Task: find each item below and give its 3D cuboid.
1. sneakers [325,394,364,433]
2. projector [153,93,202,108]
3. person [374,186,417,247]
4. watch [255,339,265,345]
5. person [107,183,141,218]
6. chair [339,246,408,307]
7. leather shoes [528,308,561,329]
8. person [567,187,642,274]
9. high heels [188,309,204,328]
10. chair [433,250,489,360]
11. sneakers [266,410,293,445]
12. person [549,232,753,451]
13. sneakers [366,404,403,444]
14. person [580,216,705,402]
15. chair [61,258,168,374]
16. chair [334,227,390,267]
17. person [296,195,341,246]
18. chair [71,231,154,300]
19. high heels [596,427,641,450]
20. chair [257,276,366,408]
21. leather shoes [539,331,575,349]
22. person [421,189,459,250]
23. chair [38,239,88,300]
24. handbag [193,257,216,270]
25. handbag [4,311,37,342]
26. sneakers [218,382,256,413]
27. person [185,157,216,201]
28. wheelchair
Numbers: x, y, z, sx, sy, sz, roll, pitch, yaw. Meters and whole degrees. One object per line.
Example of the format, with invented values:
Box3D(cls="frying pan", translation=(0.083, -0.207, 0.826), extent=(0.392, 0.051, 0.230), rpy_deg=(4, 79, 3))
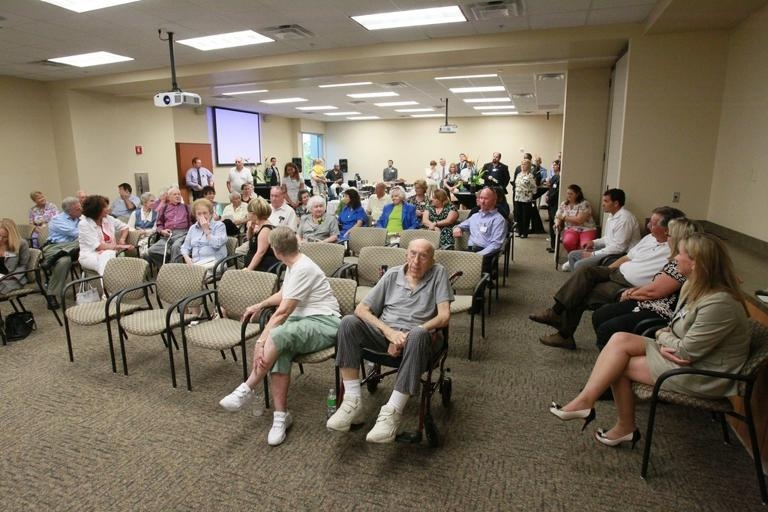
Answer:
Box3D(cls="sneakers", translation=(-0.330, 1.375, 4.634), extent=(0.195, 0.271, 0.551), rpy_deg=(11, 7, 25))
Box3D(cls="projector", translation=(-3.356, -2.563, 8.468), extent=(0.664, 0.233, 0.386), rpy_deg=(5, 13, 23))
Box3D(cls="person", translation=(0.172, -0.555, 8.234), extent=(0.689, 1.030, 0.613), rpy_deg=(8, 18, 33))
Box3D(cls="watch", translation=(-1.115, 0.789, 4.733), extent=(0.059, 0.016, 0.056), rpy_deg=(1, 6, 4))
Box3D(cls="person", translation=(-4.855, -0.971, 9.782), extent=(0.548, 0.735, 0.406), rpy_deg=(1, -3, 21))
Box3D(cls="chair", translation=(-0.147, 0.225, 6.232), extent=(0.655, 0.954, 0.692), rpy_deg=(5, 9, 25))
Box3D(cls="leather shoes", translation=(1.883, 0.707, 5.958), extent=(0.432, 0.209, 0.149), rpy_deg=(10, 9, 20))
Box3D(cls="person", translation=(3.036, -0.200, 7.341), extent=(1.004, 1.464, 0.653), rpy_deg=(-3, 15, 3))
Box3D(cls="high heels", translation=(-2.162, 0.714, 6.044), extent=(0.151, 0.201, 0.503), rpy_deg=(0, -4, -5))
Box3D(cls="chair", translation=(0.755, 0.552, 5.860), extent=(0.890, 1.094, 0.880), rpy_deg=(-2, 10, -9))
Box3D(cls="sneakers", translation=(-0.945, 1.533, 4.742), extent=(0.155, 0.194, 0.422), rpy_deg=(5, 22, 8))
Box3D(cls="person", translation=(2.331, 0.778, 4.617), extent=(1.520, 1.871, 0.839), rpy_deg=(-3, 6, 19))
Box3D(cls="sneakers", translation=(0.010, 1.441, 4.468), extent=(0.225, 0.257, 0.478), rpy_deg=(3, 6, 28))
Box3D(cls="person", translation=(2.437, 0.467, 5.347), extent=(1.034, 1.799, 0.720), rpy_deg=(-12, 32, -14))
Box3D(cls="chair", translation=(-3.068, 0.652, 5.920), extent=(0.914, 1.076, 0.900), rpy_deg=(1, 14, 6))
Box3D(cls="chair", translation=(-0.308, -0.129, 7.353), extent=(0.496, 0.638, 0.534), rpy_deg=(4, 3, 23))
Box3D(cls="person", translation=(-0.936, -0.489, 7.436), extent=(0.665, 0.718, 0.653), rpy_deg=(0, 3, 1))
Box3D(cls="chair", translation=(-3.816, -0.041, 7.269), extent=(0.665, 0.959, 0.692), rpy_deg=(13, 10, 35))
Box3D(cls="high heels", translation=(2.029, 1.590, 4.534), extent=(0.336, 0.178, 0.180), rpy_deg=(4, 5, 23))
Box3D(cls="chair", translation=(-0.741, 0.943, 5.078), extent=(0.899, 1.143, 0.908), rpy_deg=(4, -15, 2))
Box3D(cls="leather shoes", translation=(1.963, 0.961, 5.983), extent=(0.405, 0.177, 0.162), rpy_deg=(4, 10, 19))
Box3D(cls="person", translation=(0.839, -0.529, 8.091), extent=(0.628, 0.911, 0.602), rpy_deg=(-9, 19, 4))
Box3D(cls="chair", translation=(-4.467, 0.170, 7.382), extent=(0.328, 0.544, 0.784), rpy_deg=(-16, 47, -11))
Box3D(cls="handbag", translation=(-2.347, 0.093, 6.758), extent=(0.239, 0.135, 0.316), rpy_deg=(7, 11, 24))
Box3D(cls="handbag", translation=(-4.409, 0.875, 6.344), extent=(0.150, 0.273, 0.294), rpy_deg=(9, 13, 24))
Box3D(cls="sneakers", translation=(-1.301, 1.264, 4.806), extent=(0.167, 0.181, 0.394), rpy_deg=(32, 17, 19))
Box3D(cls="person", translation=(-4.660, -1.724, 13.387), extent=(0.644, 1.427, 0.438), rpy_deg=(-16, 28, -28))
Box3D(cls="wheelchair", translation=(0.081, 0.768, 4.760), extent=(0.877, 1.473, 1.364), rpy_deg=(8, -4, 19))
